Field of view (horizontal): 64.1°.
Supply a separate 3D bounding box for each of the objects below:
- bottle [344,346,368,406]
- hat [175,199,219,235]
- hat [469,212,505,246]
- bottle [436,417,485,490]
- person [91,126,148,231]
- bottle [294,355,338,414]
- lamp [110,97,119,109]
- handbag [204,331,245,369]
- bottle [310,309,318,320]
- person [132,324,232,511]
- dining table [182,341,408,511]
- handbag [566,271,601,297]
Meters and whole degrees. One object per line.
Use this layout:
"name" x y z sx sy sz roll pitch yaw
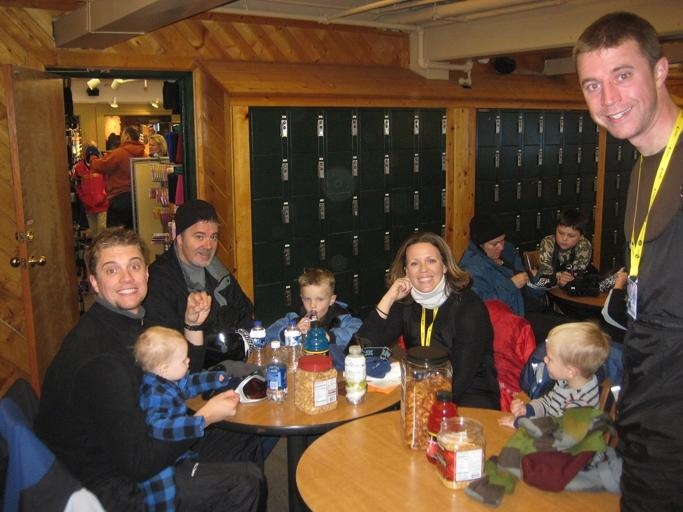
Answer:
"bottle" 0.066 0.548 2.593 0.105 0.309 0.196 -1 9 2
"hat" -0.950 -0.278 3.535 0.242 0.181 0.242 13 16 38
"hat" 1.208 -0.249 4.649 0.271 0.229 0.261 13 36 42
"bottle" 0.424 0.699 1.959 0.177 0.238 0.134 1 9 14
"person" -3.112 -1.082 7.666 0.704 1.337 1.091 -4 9 -19
"bottle" -0.121 0.600 2.500 0.197 0.260 0.196 1 16 0
"lamp" -5.298 -3.591 12.693 0.186 0.200 0.185 23 9 30
"handbag" -0.651 0.502 3.091 0.229 0.195 0.366 -6 -1 -2
"bottle" -0.174 0.359 3.333 0.047 0.022 0.065 6 29 -5
"person" -0.728 0.758 2.450 0.380 0.858 0.420 -9 39 -18
"dining table" -0.218 0.719 2.652 0.842 0.583 0.842 13 18 42
"handbag" 2.055 0.231 4.605 0.239 0.098 0.179 -5 14 7
